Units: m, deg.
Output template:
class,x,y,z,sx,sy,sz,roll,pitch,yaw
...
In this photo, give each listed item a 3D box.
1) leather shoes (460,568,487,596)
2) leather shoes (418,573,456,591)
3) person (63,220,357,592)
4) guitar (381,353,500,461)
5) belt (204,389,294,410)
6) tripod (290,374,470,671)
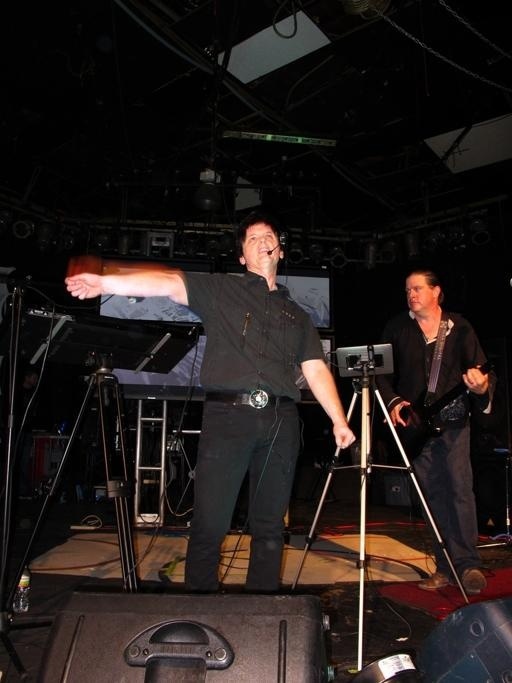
class,x,y,z,sx,sy,sz,roll,pitch,yaw
leather shoes,1.150,1.270,3.307,0.074,0.092,0.208,-5,-38,3
leather shoes,1.006,1.343,3.463,0.198,0.071,0.073,7,-19,-17
person,-0.117,0.192,2.445,1.066,1.485,0.299,6,-10,-29
guitar,1.231,0.352,3.766,0.462,0.097,1.119,4,26,41
belt,-0.023,0.226,2.408,0.338,0.076,0.126,2,-8,-5
tripod,0.593,0.710,2.781,0.989,1.239,0.841,0,-8,-2
